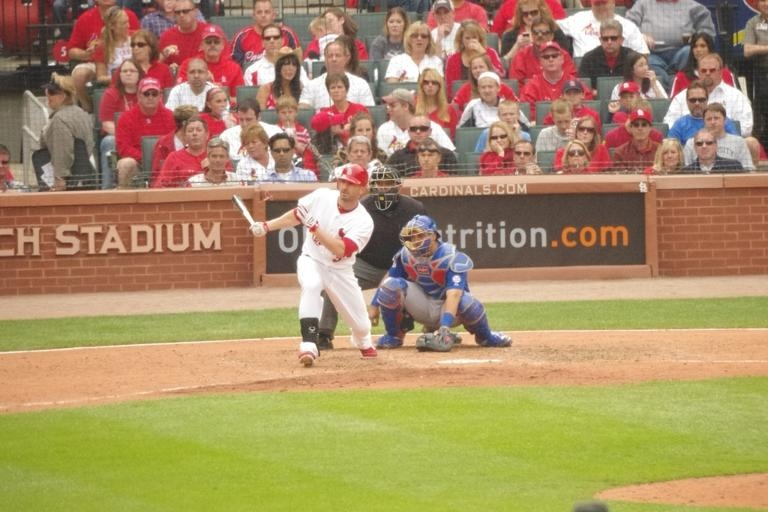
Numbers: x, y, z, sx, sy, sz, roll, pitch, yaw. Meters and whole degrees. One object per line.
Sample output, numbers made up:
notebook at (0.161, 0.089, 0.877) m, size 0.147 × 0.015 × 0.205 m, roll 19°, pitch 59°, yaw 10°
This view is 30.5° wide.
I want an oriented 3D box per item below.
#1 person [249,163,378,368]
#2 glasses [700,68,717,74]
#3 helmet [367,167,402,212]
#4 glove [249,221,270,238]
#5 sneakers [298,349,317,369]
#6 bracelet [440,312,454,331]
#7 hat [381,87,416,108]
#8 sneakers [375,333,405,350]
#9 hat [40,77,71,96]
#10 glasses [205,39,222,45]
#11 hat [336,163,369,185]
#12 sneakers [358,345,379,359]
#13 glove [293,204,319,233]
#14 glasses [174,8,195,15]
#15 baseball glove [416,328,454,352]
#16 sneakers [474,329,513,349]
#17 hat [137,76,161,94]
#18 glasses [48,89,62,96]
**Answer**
person at (-0.819, 0.134, 20.272) m, size 1.145 × 2.855 × 1.246 m, roll 7°, pitch 17°, yaw 28°
glasses at (6.114, -3.447, 26.292) m, size 0.256 × 0.099 × 0.063 m, roll 5°, pitch 16°, yaw 22°
helmet at (0.041, -1.053, 21.505) m, size 0.518 × 0.567 × 0.626 m, roll 1°, pitch 7°, yaw 6°
glove at (-1.724, -0.379, 20.227) m, size 0.345 × 0.230 × 0.141 m, roll 11°, pitch -11°, yaw -19°
sneakers at (-1.076, 1.442, 20.170) m, size 0.242 × 0.284 × 0.276 m, roll -2°, pitch 15°, yaw -3°
bracelet at (0.965, 0.935, 20.689) m, size 0.231 × 0.230 × 0.218 m, roll 3°, pitch 0°, yaw 17°
hat at (0.345, -2.911, 25.839) m, size 0.520 × 0.294 × 0.749 m, roll 4°, pitch 15°, yaw 18°
sneakers at (0.126, 1.307, 21.445) m, size 0.382 × 0.153 × 0.198 m, roll 2°, pitch 0°, yaw 18°
hat at (-6.238, -3.212, 26.659) m, size 0.637 × 0.301 × 0.408 m, roll 0°, pitch 1°, yaw -2°
glasses at (-3.264, -4.120, 27.048) m, size 0.277 × 0.131 × 0.074 m, roll -2°, pitch 15°, yaw -5°
hat at (-0.377, -1.144, 20.137) m, size 0.300 × 0.191 × 0.390 m, roll 15°, pitch -9°, yaw 35°
sneakers at (-0.207, 1.404, 20.639) m, size 0.119 × 0.124 × 0.315 m, roll 1°, pitch 3°, yaw 24°
glove at (-1.078, -0.532, 19.889) m, size 0.426 × 0.164 × 0.266 m, roll 47°, pitch 29°, yaw 14°
glasses at (-3.987, -4.828, 27.922) m, size 0.423 × 0.121 × 0.200 m, roll 11°, pitch 19°, yaw 39°
baseball glove at (0.817, 1.260, 20.887) m, size 0.322 × 0.222 × 0.499 m, roll 2°, pitch -4°, yaw -24°
sneakers at (1.711, 1.245, 21.274) m, size 0.641 × 0.266 × 0.217 m, roll -2°, pitch 7°, yaw -8°
hat at (-4.308, -3.125, 25.841) m, size 0.394 × 0.245 × 0.381 m, roll -5°, pitch 15°, yaw -13°
glasses at (-6.241, -3.105, 26.663) m, size 0.226 × 0.060 × 0.151 m, roll 8°, pitch 6°, yaw -4°
